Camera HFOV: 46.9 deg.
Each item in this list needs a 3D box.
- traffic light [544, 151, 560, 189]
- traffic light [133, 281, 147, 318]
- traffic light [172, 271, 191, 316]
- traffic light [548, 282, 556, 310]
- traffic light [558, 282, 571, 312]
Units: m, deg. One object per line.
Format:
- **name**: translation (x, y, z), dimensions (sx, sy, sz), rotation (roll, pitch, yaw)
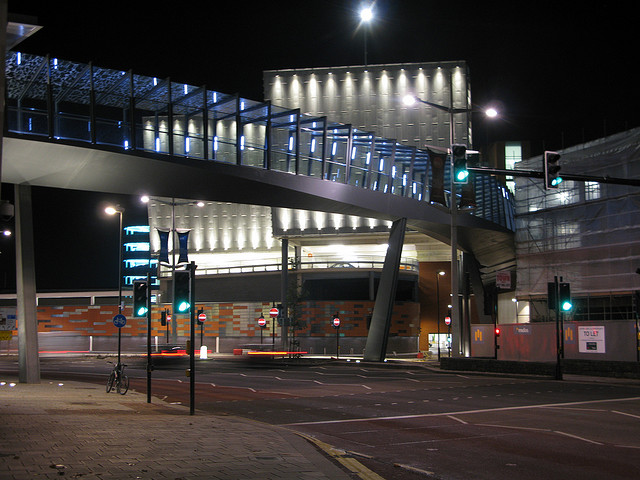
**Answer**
- **traffic light**: translation (6.802, -2.111, 21.635), dimensions (0.381, 1.116, 0.849), rotation (-2, -8, 19)
- **traffic light**: translation (-6.538, 2.096, 26.872), dimensions (0.484, 1.281, 1.089), rotation (2, -8, -13)
- **traffic light**: translation (-4.001, 1.485, 21.370), dimensions (0.432, 1.283, 0.988), rotation (2, -8, -13)
- **traffic light**: translation (10.866, 2.609, 34.635), dimensions (0.299, 1.116, 1.116), rotation (-2, -8, 16)
- **traffic light**: translation (11.550, 2.872, 34.562), dimensions (0.647, 1.131, 0.110), rotation (9, -35, 7)
